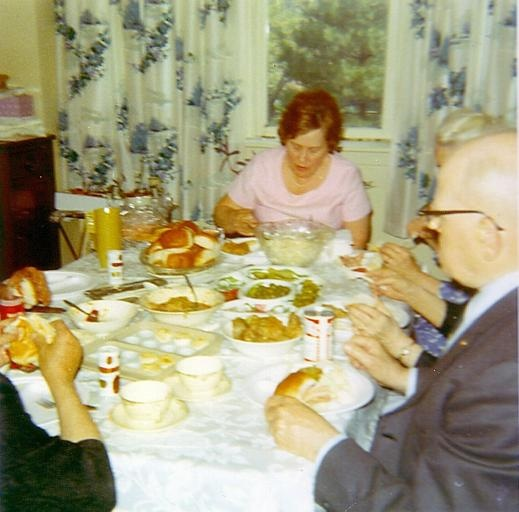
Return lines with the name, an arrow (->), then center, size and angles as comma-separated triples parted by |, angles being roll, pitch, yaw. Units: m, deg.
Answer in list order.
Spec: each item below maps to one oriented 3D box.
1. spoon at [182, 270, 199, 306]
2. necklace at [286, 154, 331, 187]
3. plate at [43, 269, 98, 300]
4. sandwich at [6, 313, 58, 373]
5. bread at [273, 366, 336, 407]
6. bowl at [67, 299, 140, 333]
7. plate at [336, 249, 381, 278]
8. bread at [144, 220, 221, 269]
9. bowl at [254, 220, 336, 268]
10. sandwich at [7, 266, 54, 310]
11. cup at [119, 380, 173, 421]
spoon -> -0.227, 0.106, 1.600 | 0.021, 0.023, 0.170 | -29, 40, -20
necklace -> 0.253, -0.438, 2.653 | 0.200, 0.083, 0.206 | 2, 37, 6
plate -> -0.660, 0.094, 1.694 | 0.142, 0.014, 0.123 | 7, 14, 17
sandwich -> -0.520, 0.194, 1.120 | 0.145, 0.112, 0.048 | 0, -12, 3
bread -> 0.092, 0.262, 1.025 | 0.089, 0.020, 0.067 | -7, 26, -6
bowl -> -0.438, 0.167, 1.393 | 0.140, 0.036, 0.113 | 1, 19, -5
plate -> 0.408, 0.030, 1.963 | 0.140, 0.038, 0.114 | 1, 21, 5
bread -> -0.284, -0.022, 1.914 | 0.282, 0.083, 0.241 | 0, 22, 6
bowl -> 0.120, -0.057, 1.945 | 0.242, 0.094, 0.245 | 1, 12, 0
sandwich -> -0.695, 0.097, 1.499 | 0.160, 0.036, 0.132 | 14, 31, -12
cup -> -0.212, 0.266, 0.924 | 0.092, 0.036, 0.078 | 1, 6, 2
